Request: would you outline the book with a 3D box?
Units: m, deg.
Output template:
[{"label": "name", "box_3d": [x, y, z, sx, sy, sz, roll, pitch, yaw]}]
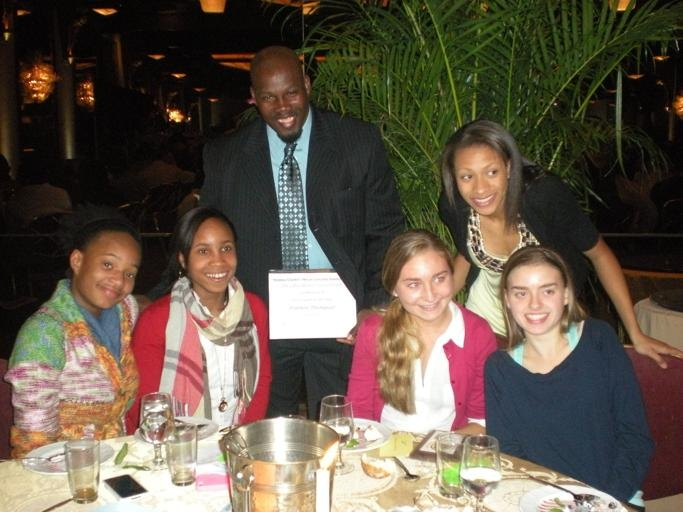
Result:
[{"label": "book", "box_3d": [-0.136, 0.236, 2.787, 0.433, 0.338, 0.116, 0, 3, -5]}]

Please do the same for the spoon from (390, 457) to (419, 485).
[{"label": "spoon", "box_3d": [0.199, 0.690, 1.790, 0.039, 0.022, 0.158, 2, 3, -7]}]

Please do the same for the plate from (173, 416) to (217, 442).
[{"label": "plate", "box_3d": [-0.552, 0.657, 2.119, 0.103, 0.019, 0.103, 9, 14, -20]}]

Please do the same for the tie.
[{"label": "tie", "box_3d": [-0.253, -0.263, 2.856, 0.148, 0.641, 0.105, -2, 6, -7]}]

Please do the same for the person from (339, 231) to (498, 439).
[{"label": "person", "box_3d": [0.308, 0.312, 2.820, 0.894, 1.351, 0.778, -1, 2, 8]}]

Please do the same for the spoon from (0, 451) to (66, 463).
[{"label": "spoon", "box_3d": [-1.007, 0.679, 1.883, 0.084, 0.015, 0.087, 4, -5, 3]}]
